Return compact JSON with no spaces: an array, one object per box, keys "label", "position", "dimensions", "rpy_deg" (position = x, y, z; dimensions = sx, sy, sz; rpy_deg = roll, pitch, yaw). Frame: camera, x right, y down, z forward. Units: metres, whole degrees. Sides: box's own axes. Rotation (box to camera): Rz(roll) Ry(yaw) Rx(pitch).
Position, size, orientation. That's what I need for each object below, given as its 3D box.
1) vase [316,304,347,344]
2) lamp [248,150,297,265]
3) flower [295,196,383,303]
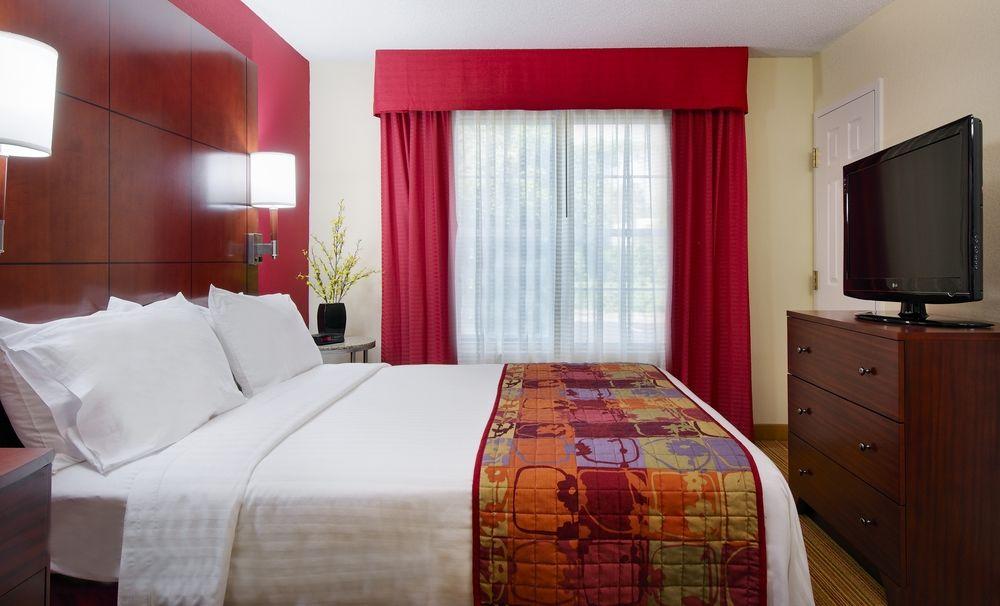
[{"label":"vase","position":[-1.286,0.151,5.131],"dimensions":[0.211,0.296,0.209],"rpy_deg":[-2,0,-31]},{"label":"lamp","position":[-1.590,-0.674,4.727],"dimensions":[0.323,0.766,0.391],"rpy_deg":[-4,9,-17]},{"label":"flower","position":[-1.342,-0.392,5.537],"dimensions":[0.707,1.090,0.779],"rpy_deg":[0,3,-11]}]
